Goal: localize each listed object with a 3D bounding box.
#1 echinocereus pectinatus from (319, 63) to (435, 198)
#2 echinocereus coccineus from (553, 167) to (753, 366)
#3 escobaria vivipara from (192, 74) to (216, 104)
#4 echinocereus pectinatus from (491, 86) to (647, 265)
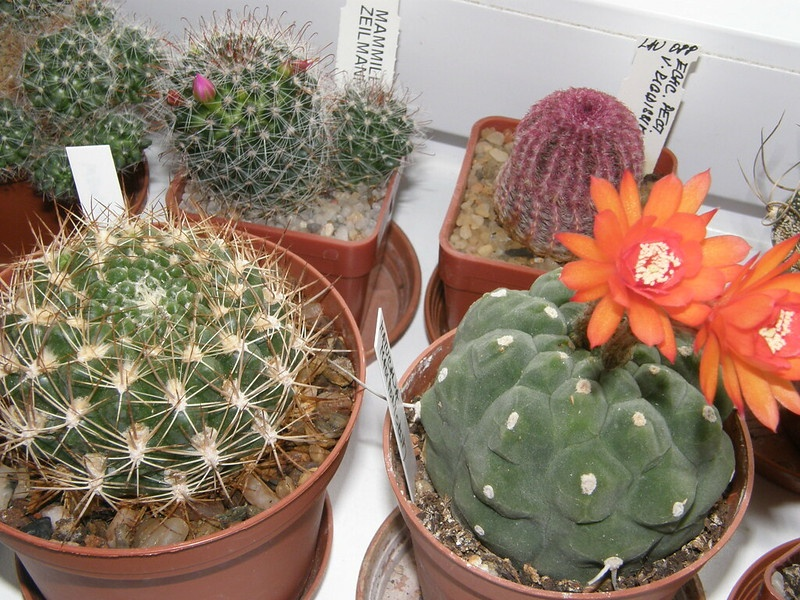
[{"bbox_3d":[-0.059,-0.298,1.319,0.187,0.204,0.200,15,40,5],"label":"echinocereus pectinatus"},{"bbox_3d":[0.234,-0.024,0.691,0.184,0.173,0.125,2,38,0],"label":"echinocereus coccineus"},{"bbox_3d":[-0.311,-0.331,1.069,0.027,0.040,0.027,20,58,23],"label":"escobaria vivipara"},{"bbox_3d":[0.247,-0.205,1.182,0.258,0.274,0.271,25,60,15],"label":"echinocereus pectinatus"}]
